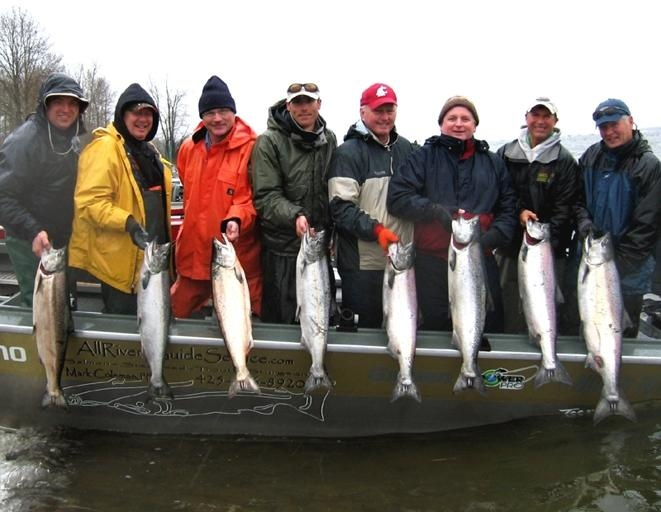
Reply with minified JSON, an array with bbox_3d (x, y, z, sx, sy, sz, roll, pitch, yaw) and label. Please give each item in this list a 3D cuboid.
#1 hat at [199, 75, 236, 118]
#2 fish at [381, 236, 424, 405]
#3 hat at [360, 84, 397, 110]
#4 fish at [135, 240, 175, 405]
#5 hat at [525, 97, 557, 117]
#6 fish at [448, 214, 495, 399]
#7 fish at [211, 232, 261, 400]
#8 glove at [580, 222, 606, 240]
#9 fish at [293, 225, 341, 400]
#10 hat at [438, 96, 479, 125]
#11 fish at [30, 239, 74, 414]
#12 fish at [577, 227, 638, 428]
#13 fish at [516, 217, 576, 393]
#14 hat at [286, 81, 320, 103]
[{"bbox_3d":[-0.921,-1.278,5.070,0.326,0.351,0.394,-3,-2,0],"label":"hat"},{"bbox_3d":[0.504,0.459,4.475,0.250,1.057,0.273,-1,0,4],"label":"fish"},{"bbox_3d":[0.346,-1.221,4.722,0.270,0.180,0.237,-1,0,13],"label":"hat"},{"bbox_3d":[-1.243,0.453,4.436,0.219,1.160,0.136,-1,0,-25],"label":"fish"},{"bbox_3d":[1.687,-1.204,4.975,0.223,0.138,0.216,-1,0,17],"label":"hat"},{"bbox_3d":[0.995,0.329,4.469,0.281,1.152,0.271,-1,0,8],"label":"fish"},{"bbox_3d":[-0.677,0.415,4.390,0.286,1.141,0.214,-1,0,-12],"label":"fish"},{"bbox_3d":[1.970,-0.201,4.741,0.150,0.104,0.209,30,-6,-26],"label":"glove"},{"bbox_3d":[-0.130,0.390,4.497,0.239,1.134,0.173,-1,0,1],"label":"fish"},{"bbox_3d":[0.969,-1.125,4.763,0.294,0.198,0.260,-1,0,11],"label":"hat"},{"bbox_3d":[-1.997,0.513,4.490,0.254,1.208,0.152,-1,0,-24],"label":"fish"},{"bbox_3d":[1.968,0.507,4.471,0.307,1.163,0.199,-1,0,7],"label":"fish"},{"bbox_3d":[1.544,0.337,4.525,0.331,1.059,0.185,-1,0,17],"label":"fish"},{"bbox_3d":[-0.213,-1.244,4.747,0.242,0.142,0.152,-1,0,-5],"label":"hat"}]
